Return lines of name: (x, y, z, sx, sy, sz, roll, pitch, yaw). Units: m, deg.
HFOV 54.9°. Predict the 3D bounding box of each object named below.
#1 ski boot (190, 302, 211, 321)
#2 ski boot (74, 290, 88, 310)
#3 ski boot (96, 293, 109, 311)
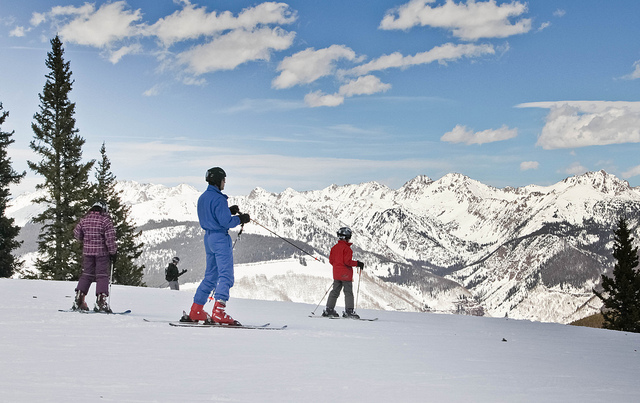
ski boot: (-2.981, 2.758, 15.471, 0.513, 0.460, 0.274, 2, 2, -11)
ski boot: (-6.453, 2.664, 16.731, 0.259, 0.526, 0.277, 4, 2, 42)
ski boot: (-5.930, 2.714, 16.821, 0.294, 0.421, 0.395, 2, 2, -20)
